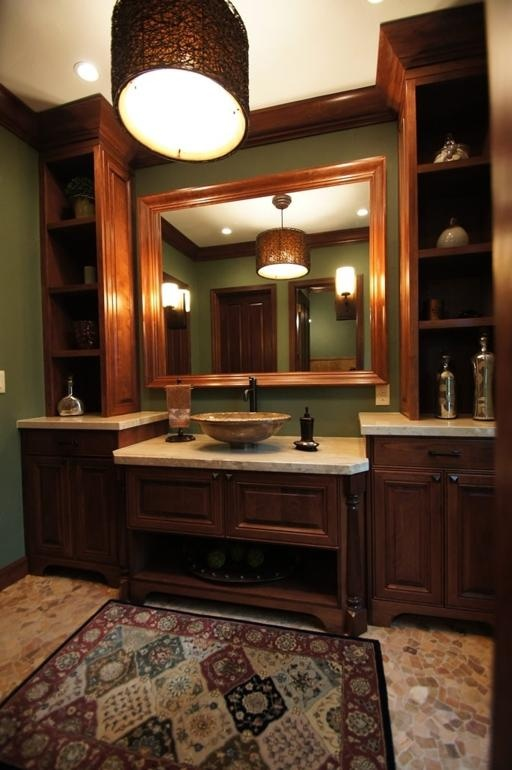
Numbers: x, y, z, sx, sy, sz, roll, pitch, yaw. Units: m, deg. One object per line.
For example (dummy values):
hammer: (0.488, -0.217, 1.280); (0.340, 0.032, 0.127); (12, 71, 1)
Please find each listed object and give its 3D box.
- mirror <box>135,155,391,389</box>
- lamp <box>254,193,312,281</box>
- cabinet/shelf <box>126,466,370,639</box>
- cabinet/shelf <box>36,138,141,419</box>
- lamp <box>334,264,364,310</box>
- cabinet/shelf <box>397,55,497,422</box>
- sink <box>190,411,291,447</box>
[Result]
mirror: (0.077, -0.543, 2.684); (1.075, 1.022, 0.085); (-1, 2, 11)
lamp: (0.124, -0.735, 2.775); (0.239, 0.370, 0.242); (2, -8, -21)
cabinet/shelf: (-0.071, 0.594, 2.333); (0.988, 0.615, 0.410); (1, -2, 16)
cabinet/shelf: (-0.840, -0.496, 2.864); (0.400, 1.317, 0.496); (1, 7, 12)
lamp: (0.407, -0.437, 2.598); (0.167, 0.254, 0.164); (-1, -3, 10)
cabinet/shelf: (0.796, -0.512, 2.283); (0.394, 1.461, 0.343); (0, -1, 27)
sink: (-0.079, 0.186, 2.426); (0.388, 0.174, 0.501); (-2, 8, -8)
